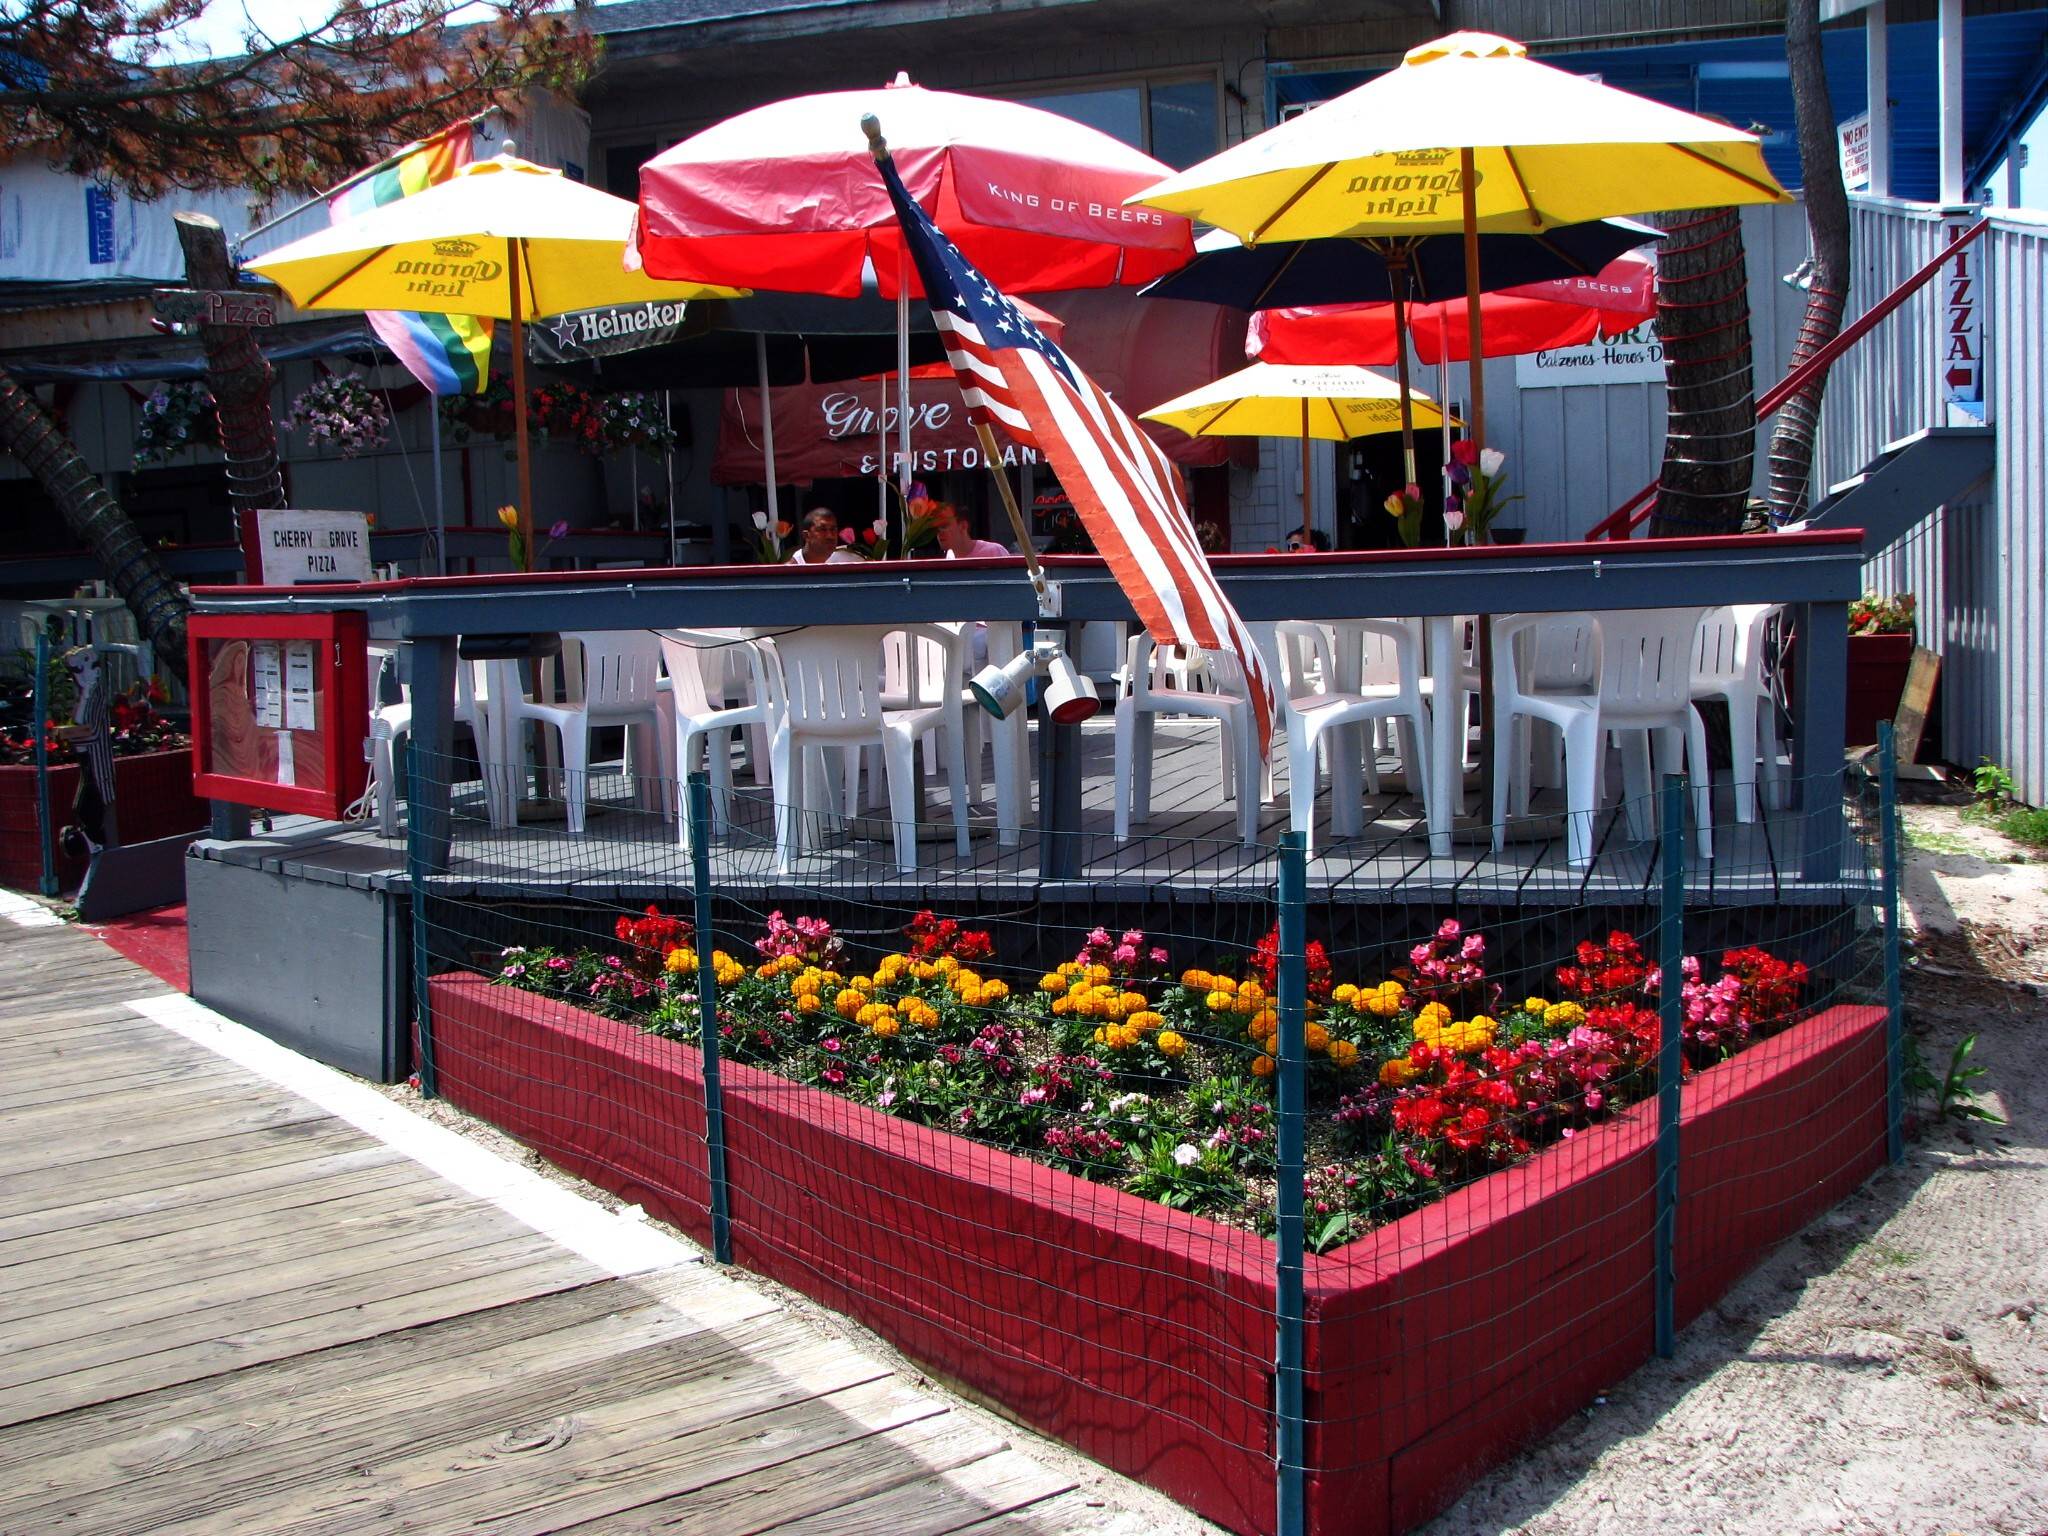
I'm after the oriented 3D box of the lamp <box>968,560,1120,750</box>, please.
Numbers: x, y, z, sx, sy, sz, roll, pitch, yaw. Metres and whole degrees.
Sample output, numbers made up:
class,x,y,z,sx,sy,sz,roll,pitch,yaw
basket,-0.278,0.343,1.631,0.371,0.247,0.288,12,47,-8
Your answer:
class,x,y,z,sx,sy,sz,roll,pitch,yaw
lamp,0.034,-0.318,6.885,0.563,0.723,0.633,0,0,-1

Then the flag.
class,x,y,z,sx,sy,sz,roll,pitch,yaw
flag,0.123,-0.835,5.565,0.884,1.488,0.800,-4,13,-12
